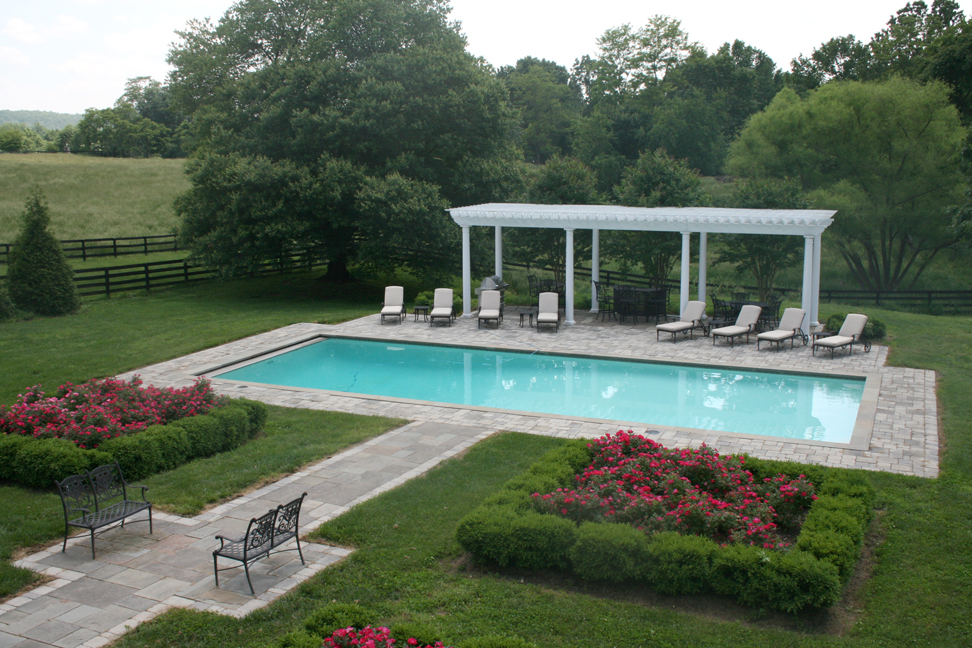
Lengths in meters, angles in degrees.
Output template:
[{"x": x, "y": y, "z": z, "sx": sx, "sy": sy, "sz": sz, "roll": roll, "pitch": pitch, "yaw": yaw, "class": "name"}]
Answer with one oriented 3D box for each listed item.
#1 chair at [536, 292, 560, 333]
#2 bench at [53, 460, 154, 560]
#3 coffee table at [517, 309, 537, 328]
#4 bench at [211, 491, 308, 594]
[{"x": 2.244, "y": -0.519, "z": 30.082, "sx": 0.867, "sy": 1.159, "sz": 1.827, "roll": 0, "pitch": 10, "yaw": 4, "class": "chair"}, {"x": -7.269, "y": 3.493, "z": 15.696, "sx": 0.905, "sy": 1.349, "sz": 1.842, "roll": 5, "pitch": 3, "yaw": 10, "class": "bench"}, {"x": 1.558, "y": -0.186, "z": 31.036, "sx": 0.702, "sy": 0.642, "sz": 0.684, "roll": 2, "pitch": 15, "yaw": 2, "class": "coffee table"}, {"x": -4.132, "y": 4.063, "z": 15.027, "sx": 0.829, "sy": 1.184, "sz": 1.575, "roll": 6, "pitch": 5, "yaw": 23, "class": "bench"}]
